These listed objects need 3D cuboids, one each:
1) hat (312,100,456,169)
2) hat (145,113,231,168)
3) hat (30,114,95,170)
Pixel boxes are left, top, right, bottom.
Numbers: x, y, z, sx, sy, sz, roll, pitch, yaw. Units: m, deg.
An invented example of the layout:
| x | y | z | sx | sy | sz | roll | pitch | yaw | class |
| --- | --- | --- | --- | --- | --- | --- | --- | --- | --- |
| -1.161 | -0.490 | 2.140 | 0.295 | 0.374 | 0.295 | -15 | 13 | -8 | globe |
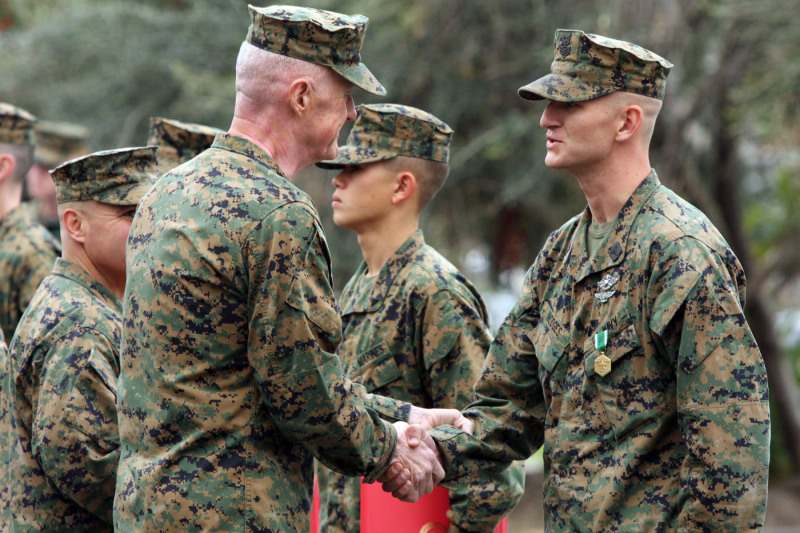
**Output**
| x | y | z | sx | sy | sz | roll | pitch | yaw | class |
| --- | --- | --- | --- | --- | --- | --- | --- | --- | --- |
| -0.043 | -0.948 | 13.688 | 0.699 | 0.332 | 0.538 | 2 | -6 | -4 | hat |
| -1.767 | -1.003 | 14.992 | 0.465 | 0.277 | 0.674 | -9 | -1 | 18 | hat |
| -3.377 | -1.256 | 17.713 | 0.608 | 0.442 | 0.550 | -1 | -3 | 41 | hat |
